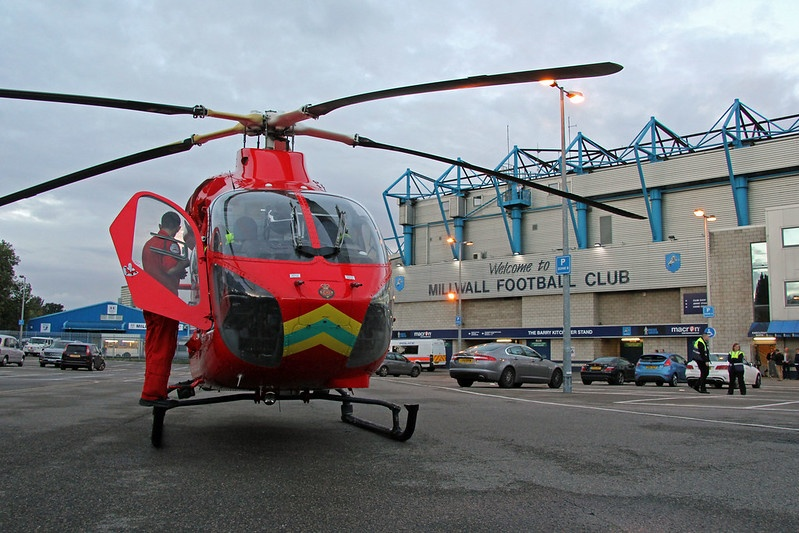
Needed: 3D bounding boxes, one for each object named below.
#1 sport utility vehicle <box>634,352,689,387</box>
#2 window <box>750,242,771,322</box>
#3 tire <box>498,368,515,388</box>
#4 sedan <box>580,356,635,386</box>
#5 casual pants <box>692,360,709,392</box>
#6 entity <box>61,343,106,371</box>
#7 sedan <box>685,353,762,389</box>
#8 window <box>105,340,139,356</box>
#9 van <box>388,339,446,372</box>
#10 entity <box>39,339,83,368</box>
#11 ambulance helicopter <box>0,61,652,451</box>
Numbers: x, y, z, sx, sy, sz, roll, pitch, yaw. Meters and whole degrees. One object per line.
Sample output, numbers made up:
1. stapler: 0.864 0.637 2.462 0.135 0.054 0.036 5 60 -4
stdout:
1. sport utility vehicle: 11.965 4.542 28.513 1.374 0.813 2.515 -4 -4 37
2. window: 21.676 0.857 38.252 0.855 4.853 0.420 -3 -9 30
3. tire: 3.584 3.703 21.400 0.746 0.620 0.264 16 -18 -42
4. sedan: 10.123 4.836 29.846 1.224 0.675 2.716 -4 -5 41
5. casual pants: 10.020 3.604 20.982 0.332 1.087 1.573 -2 -8 24
6. entity: -16.376 4.630 33.299 1.515 0.852 2.161 1 -1 -5
7. sedan: 13.113 4.308 25.651 1.919 1.057 4.226 -3 -4 44
8. window: -27.289 7.935 62.298 3.046 1.241 1.964 1 0 -11
9. van: 0.996 6.525 47.510 4.400 1.727 2.606 0 -5 18
10. entity: -18.550 4.705 34.412 1.836 1.096 2.709 0 -10 -2
11. ambulance helicopter: -2.451 -0.267 10.314 6.409 2.656 6.431 1 -6 -16
